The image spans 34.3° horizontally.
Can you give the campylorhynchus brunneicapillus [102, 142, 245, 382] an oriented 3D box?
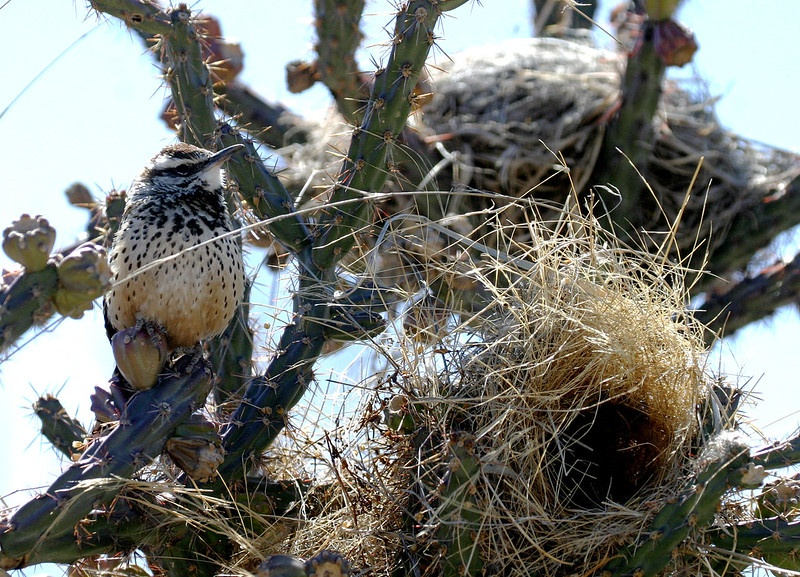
[{"bbox_3d":[-0.496,-0.053,2.749,0.279,0.453,0.467,13,-30,-25],"label":"campylorhynchus brunneicapillus"}]
